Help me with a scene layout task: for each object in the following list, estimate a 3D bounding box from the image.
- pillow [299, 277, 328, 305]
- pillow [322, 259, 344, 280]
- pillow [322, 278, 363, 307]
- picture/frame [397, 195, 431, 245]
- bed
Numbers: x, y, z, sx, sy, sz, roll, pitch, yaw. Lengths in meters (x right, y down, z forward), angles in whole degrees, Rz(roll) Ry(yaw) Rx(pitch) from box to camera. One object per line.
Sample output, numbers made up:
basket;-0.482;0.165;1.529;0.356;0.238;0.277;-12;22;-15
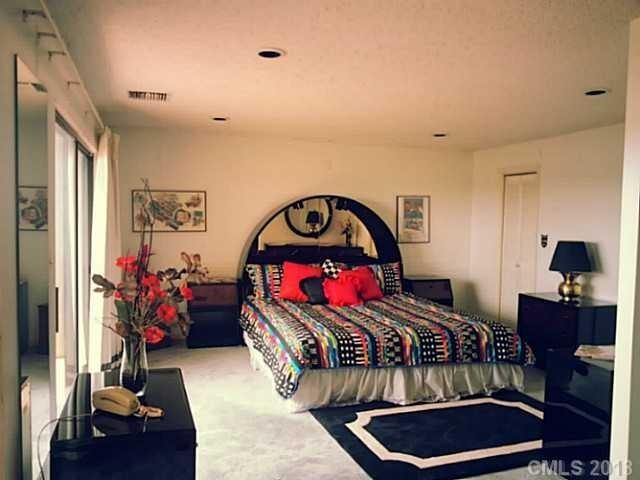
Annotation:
pillow;-0.068;0.557;5.580;0.286;0.263;0.081;-6;-27;-17
pillow;0.135;0.349;5.984;0.207;0.212;0.061;32;-39;1
pillow;0.221;0.550;5.507;0.317;0.302;0.091;4;-41;-24
picture/frame;1.237;-0.285;6.820;0.705;0.908;0.036;0;0;-20
bed;0.545;0.430;5.413;2.720;1.663;2.558;-2;9;-14
